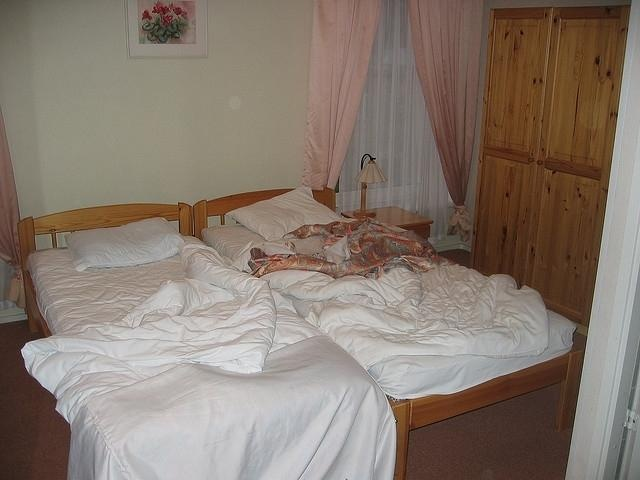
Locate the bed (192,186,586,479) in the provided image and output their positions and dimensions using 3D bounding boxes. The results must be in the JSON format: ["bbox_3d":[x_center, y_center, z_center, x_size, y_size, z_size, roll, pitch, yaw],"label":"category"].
[{"bbox_3d":[0.569,0.372,3.622,2.935,1.304,2.508,-5,14,-17],"label":"bed"}]

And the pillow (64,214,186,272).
[{"bbox_3d":[-1.485,0.016,3.588,0.782,0.276,0.483,-9,16,-30],"label":"pillow"}]
